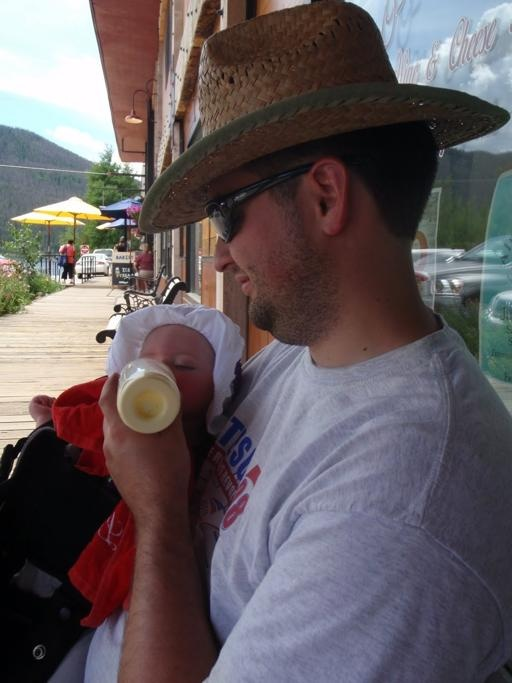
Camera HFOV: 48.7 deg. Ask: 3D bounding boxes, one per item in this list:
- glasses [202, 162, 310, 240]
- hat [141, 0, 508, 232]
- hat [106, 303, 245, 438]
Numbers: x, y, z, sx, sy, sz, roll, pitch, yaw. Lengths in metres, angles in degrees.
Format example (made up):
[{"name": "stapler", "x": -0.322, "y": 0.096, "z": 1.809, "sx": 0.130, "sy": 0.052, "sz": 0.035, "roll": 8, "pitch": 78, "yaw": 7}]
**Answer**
[{"name": "glasses", "x": -0.009, "y": -0.304, "z": 1.234, "sx": 0.152, "sy": 0.048, "sz": 0.147, "roll": -25, "pitch": 2, "yaw": -4}, {"name": "hat", "x": 0.064, "y": -0.383, "z": 1.112, "sx": 0.557, "sy": 0.273, "sz": 0.486, "roll": -19, "pitch": -1, "yaw": 37}, {"name": "hat", "x": -0.223, "y": 0.084, "z": 1.883, "sx": 0.326, "sy": 0.418, "sz": 0.428, "roll": 10, "pitch": -1, "yaw": 3}]
